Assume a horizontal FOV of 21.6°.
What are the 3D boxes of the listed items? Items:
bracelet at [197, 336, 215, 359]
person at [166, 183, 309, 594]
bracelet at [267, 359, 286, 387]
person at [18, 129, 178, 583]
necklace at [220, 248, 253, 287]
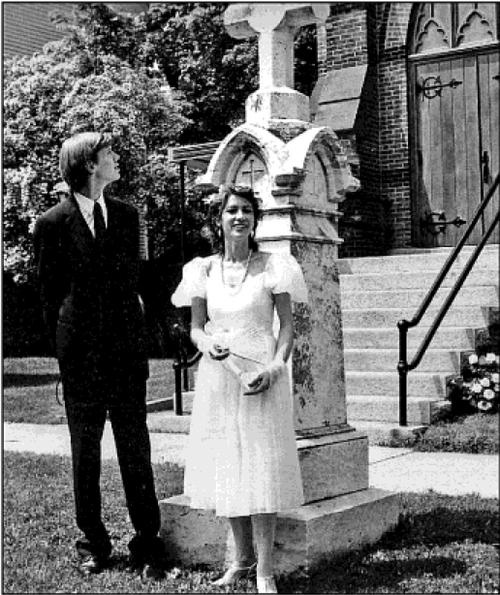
[{"bbox_3d":[-0.238,0.253,6.896,0.073,0.107,0.240,-2,4,-16],"label":"bracelet"},{"bbox_3d":[-0.053,0.459,6.927,0.648,2.103,0.584,0,4,13],"label":"person"},{"bbox_3d":[0.127,0.382,6.769,0.083,0.132,0.158,-1,4,8],"label":"bracelet"},{"bbox_3d":[-0.837,0.295,7.255,0.689,2.436,0.477,-2,4,-11],"label":"person"},{"bbox_3d":[-0.090,-0.138,6.994,0.128,0.238,0.050,-1,-12,27],"label":"necklace"}]
